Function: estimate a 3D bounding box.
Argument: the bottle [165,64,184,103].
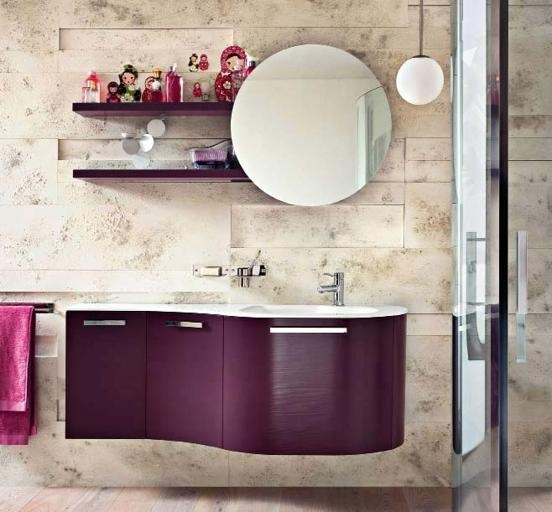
[{"bbox_3d":[-0.464,-0.776,3.488,0.081,0.157,0.087,0,13,0],"label":"bottle"}]

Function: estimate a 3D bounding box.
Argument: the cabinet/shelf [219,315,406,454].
[{"bbox_3d":[0.135,0.505,3.398,0.860,0.618,0.477,1,11,4],"label":"cabinet/shelf"}]

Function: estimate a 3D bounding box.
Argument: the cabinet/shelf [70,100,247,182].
[{"bbox_3d":[-0.518,-0.513,3.518,0.774,0.362,0.309,-1,13,-3],"label":"cabinet/shelf"}]

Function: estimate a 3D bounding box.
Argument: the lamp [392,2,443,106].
[{"bbox_3d":[0.598,-0.862,3.279,0.180,0.425,0.434,1,14,7],"label":"lamp"}]

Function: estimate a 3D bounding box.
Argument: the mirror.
[{"bbox_3d":[0.172,-0.607,3.716,0.692,0.738,0.166,0,6,1],"label":"mirror"}]

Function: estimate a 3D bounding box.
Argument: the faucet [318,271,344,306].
[{"bbox_3d":[0.238,0.151,3.449,0.146,0.151,0.050,-6,7,-33],"label":"faucet"}]

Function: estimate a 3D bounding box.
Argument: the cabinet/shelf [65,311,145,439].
[{"bbox_3d":[-0.789,0.548,3.448,0.336,0.556,0.300,5,-24,-25],"label":"cabinet/shelf"}]

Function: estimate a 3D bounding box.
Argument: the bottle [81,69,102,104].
[{"bbox_3d":[-0.840,-0.771,3.534,0.086,0.134,0.206,-3,14,-12],"label":"bottle"}]
